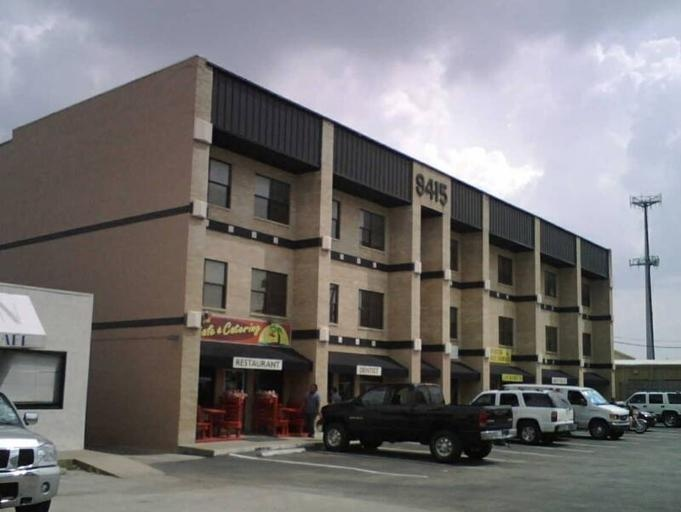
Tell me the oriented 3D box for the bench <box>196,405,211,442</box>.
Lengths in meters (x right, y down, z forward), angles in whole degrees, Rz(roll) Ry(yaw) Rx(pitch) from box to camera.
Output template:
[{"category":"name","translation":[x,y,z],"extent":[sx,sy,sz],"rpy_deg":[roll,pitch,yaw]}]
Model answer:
[{"category":"bench","translation":[-5.377,6.597,27.564],"extent":[0.599,1.332,1.225],"rpy_deg":[2,-16,-10]}]

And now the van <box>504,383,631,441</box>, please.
[{"category":"van","translation":[11.683,7.869,34.639],"extent":[5.092,2.367,2.796],"rpy_deg":[-4,-8,14]}]

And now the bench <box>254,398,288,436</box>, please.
[{"category":"bench","translation":[-3.100,6.926,30.514],"extent":[1.183,1.685,0.924],"rpy_deg":[-5,-12,20]}]

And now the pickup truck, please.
[{"category":"pickup truck","translation":[2.752,6.097,25.775],"extent":[6.253,2.497,2.954],"rpy_deg":[-2,-10,32]}]

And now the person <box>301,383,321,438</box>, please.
[{"category":"person","translation":[-1.244,6.651,30.253],"extent":[0.620,2.324,1.565],"rpy_deg":[0,-16,-4]}]
